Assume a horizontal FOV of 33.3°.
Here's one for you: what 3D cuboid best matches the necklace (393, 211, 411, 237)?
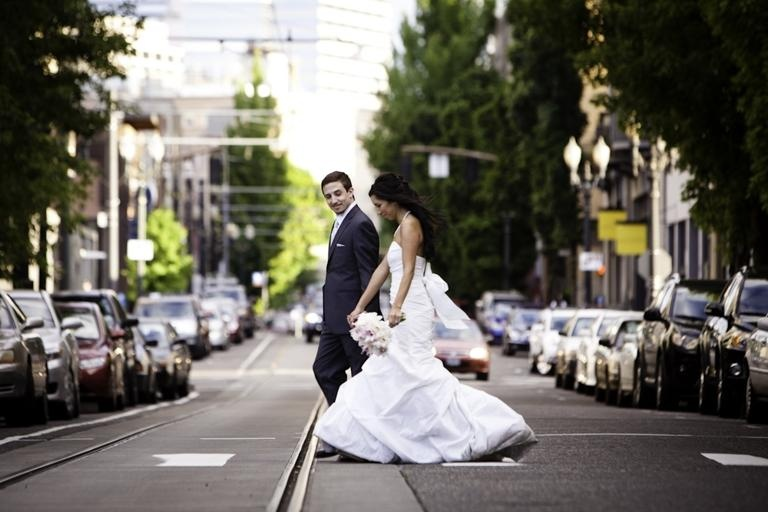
[{"bbox_3d":[0.188,-0.377,15.193,0.062,0.277,0.203,22,0,4],"label":"necklace"}]

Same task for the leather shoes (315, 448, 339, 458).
[{"bbox_3d":[-0.686,2.366,15.246,0.167,0.076,0.133,4,-7,-1],"label":"leather shoes"}]

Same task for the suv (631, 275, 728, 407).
[{"bbox_3d":[5.737,1.424,23.475,1.604,2.053,3.872,1,5,3],"label":"suv"}]

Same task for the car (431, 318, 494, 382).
[{"bbox_3d":[2.133,2.577,34.425,1.267,1.430,2.944,0,-8,0],"label":"car"}]

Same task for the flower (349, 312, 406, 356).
[{"bbox_3d":[-0.076,0.896,15.109,0.345,0.447,0.473,-29,-2,26],"label":"flower"}]
